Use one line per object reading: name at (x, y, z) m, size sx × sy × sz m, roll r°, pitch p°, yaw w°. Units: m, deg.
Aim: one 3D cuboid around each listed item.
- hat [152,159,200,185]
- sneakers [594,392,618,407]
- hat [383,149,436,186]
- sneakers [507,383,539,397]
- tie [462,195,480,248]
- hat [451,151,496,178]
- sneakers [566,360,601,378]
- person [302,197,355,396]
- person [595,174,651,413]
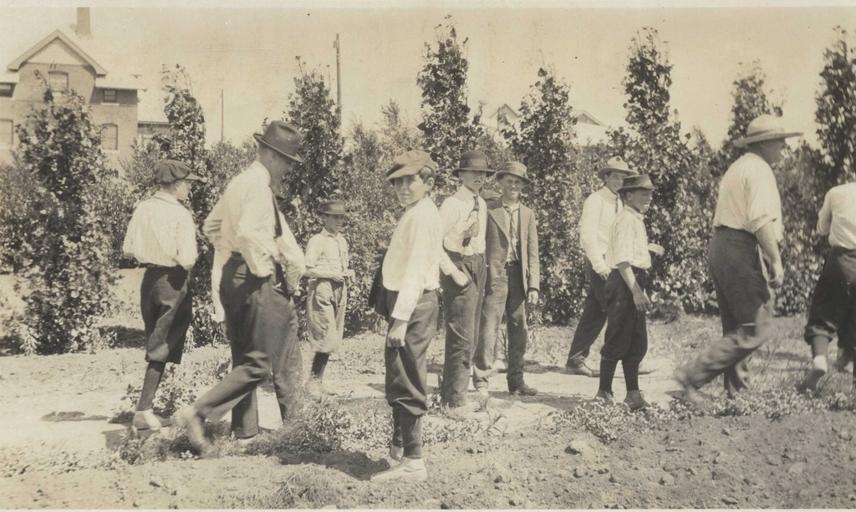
hat at (-3.521, -1.183, 13.157) m, size 0.514 × 0.201 × 0.339 m, roll -6°, pitch 22°, yaw -39°
sneakers at (2.507, 2.032, 13.297) m, size 0.279 × 0.260 × 0.162 m, roll 11°, pitch -25°, yaw 1°
hat at (-0.235, -1.156, 12.051) m, size 0.509 × 0.244 × 0.375 m, roll -4°, pitch -6°, yaw -36°
sneakers at (1.408, 1.998, 13.959) m, size 0.462 × 0.178 × 0.164 m, roll -1°, pitch 4°, yaw -2°
tie at (0.612, -0.458, 13.341) m, size 0.170 × 0.774 × 0.233 m, roll 17°, pitch 0°, yaw -2°
hat at (0.708, -1.313, 13.551) m, size 0.434 × 0.235 × 0.475 m, roll 1°, pitch 1°, yaw 29°
sneakers at (2.362, 1.776, 14.603) m, size 0.615 × 0.243 × 0.202 m, roll 0°, pitch 4°, yaw -5°
person at (-1.524, 0.566, 13.783) m, size 0.635 × 2.740 × 0.875 m, roll 3°, pitch 4°, yaw 5°
person at (2.813, 0.504, 13.304) m, size 0.703 × 3.300 × 0.435 m, roll 3°, pitch 4°, yaw 12°
